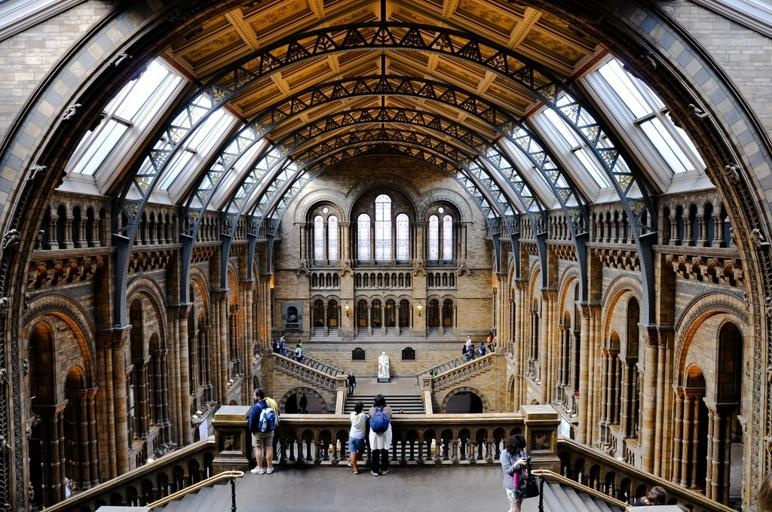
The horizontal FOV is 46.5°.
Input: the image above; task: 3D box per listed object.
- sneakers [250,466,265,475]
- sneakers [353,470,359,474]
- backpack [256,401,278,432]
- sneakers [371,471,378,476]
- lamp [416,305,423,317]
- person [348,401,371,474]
[{"bbox_3d":[-3.506,5.828,24.514,0.378,0.194,0.167,4,-7,4],"label":"sneakers"},{"bbox_3d":[-0.830,5.911,24.700,0.064,0.132,0.192,3,-25,-17],"label":"sneakers"},{"bbox_3d":[-3.232,4.315,24.398,0.481,0.907,0.303,2,-10,-13],"label":"backpack"},{"bbox_3d":[-0.309,5.931,24.591,0.190,0.139,0.093,-1,-10,5],"label":"sneakers"},{"bbox_3d":[2.062,3.272,54.064,0.354,0.695,0.274,-2,-10,9],"label":"lamp"},{"bbox_3d":[-0.767,4.995,24.744,0.560,1.927,1.358,0,-10,-2],"label":"person"}]
